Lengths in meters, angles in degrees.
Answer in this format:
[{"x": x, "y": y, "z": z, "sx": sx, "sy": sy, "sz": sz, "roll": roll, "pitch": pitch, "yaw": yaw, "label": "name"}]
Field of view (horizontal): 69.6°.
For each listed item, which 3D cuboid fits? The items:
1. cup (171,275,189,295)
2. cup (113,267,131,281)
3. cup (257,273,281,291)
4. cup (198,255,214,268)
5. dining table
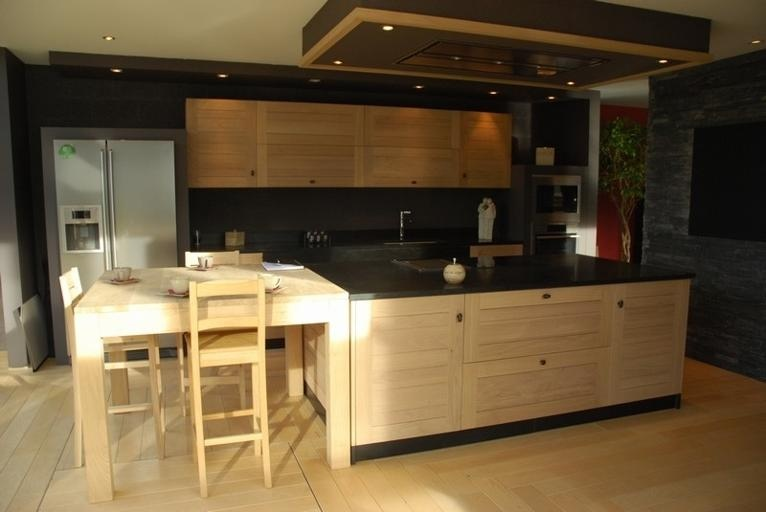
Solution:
[{"x": -1.478, "y": 0.209, "z": 3.942, "sx": 0.151, "sy": 0.098, "sz": 0.127, "roll": -1, "pitch": 5, "yaw": -6, "label": "cup"}, {"x": -2.090, "y": 0.138, "z": 4.318, "sx": 0.140, "sy": 0.085, "sz": 0.105, "roll": -5, "pitch": 10, "yaw": -27, "label": "cup"}, {"x": -0.880, "y": 0.200, "z": 4.094, "sx": 0.157, "sy": 0.090, "sz": 0.116, "roll": 2, "pitch": -1, "yaw": -25, "label": "cup"}, {"x": -1.584, "y": 0.053, "z": 4.752, "sx": 0.127, "sy": 0.093, "sz": 0.093, "roll": 1, "pitch": 5, "yaw": 12, "label": "cup"}, {"x": -1.512, "y": 0.745, "z": 4.508, "sx": 1.950, "sy": 1.213, "sz": 1.840, "roll": -1, "pitch": 2, "yaw": -23, "label": "dining table"}]
